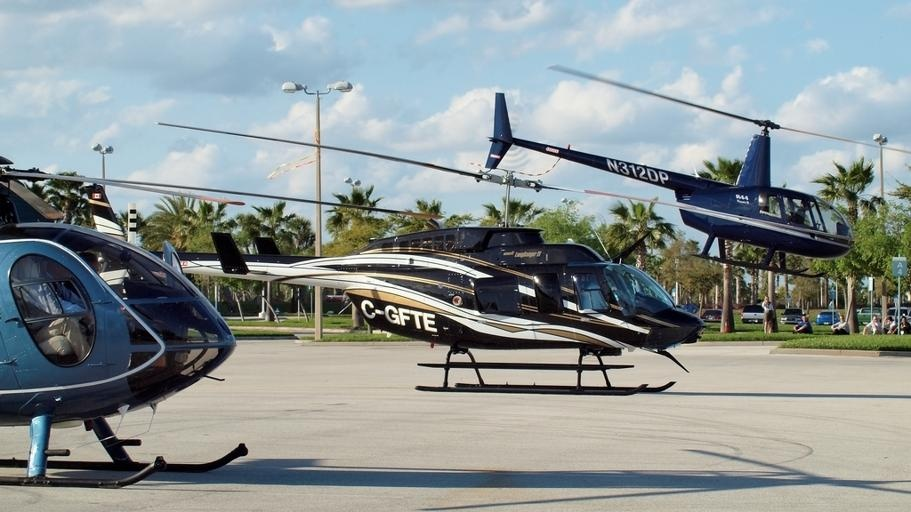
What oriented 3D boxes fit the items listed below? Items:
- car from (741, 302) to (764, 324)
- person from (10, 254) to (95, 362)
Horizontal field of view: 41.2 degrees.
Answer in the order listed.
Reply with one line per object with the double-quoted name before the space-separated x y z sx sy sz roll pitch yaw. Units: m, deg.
"car" 19.330 3.673 78.440 1.124 0.698 1.875 1 7 14
"person" -8.299 1.027 24.714 1.480 2.422 0.376 -31 1 -5
